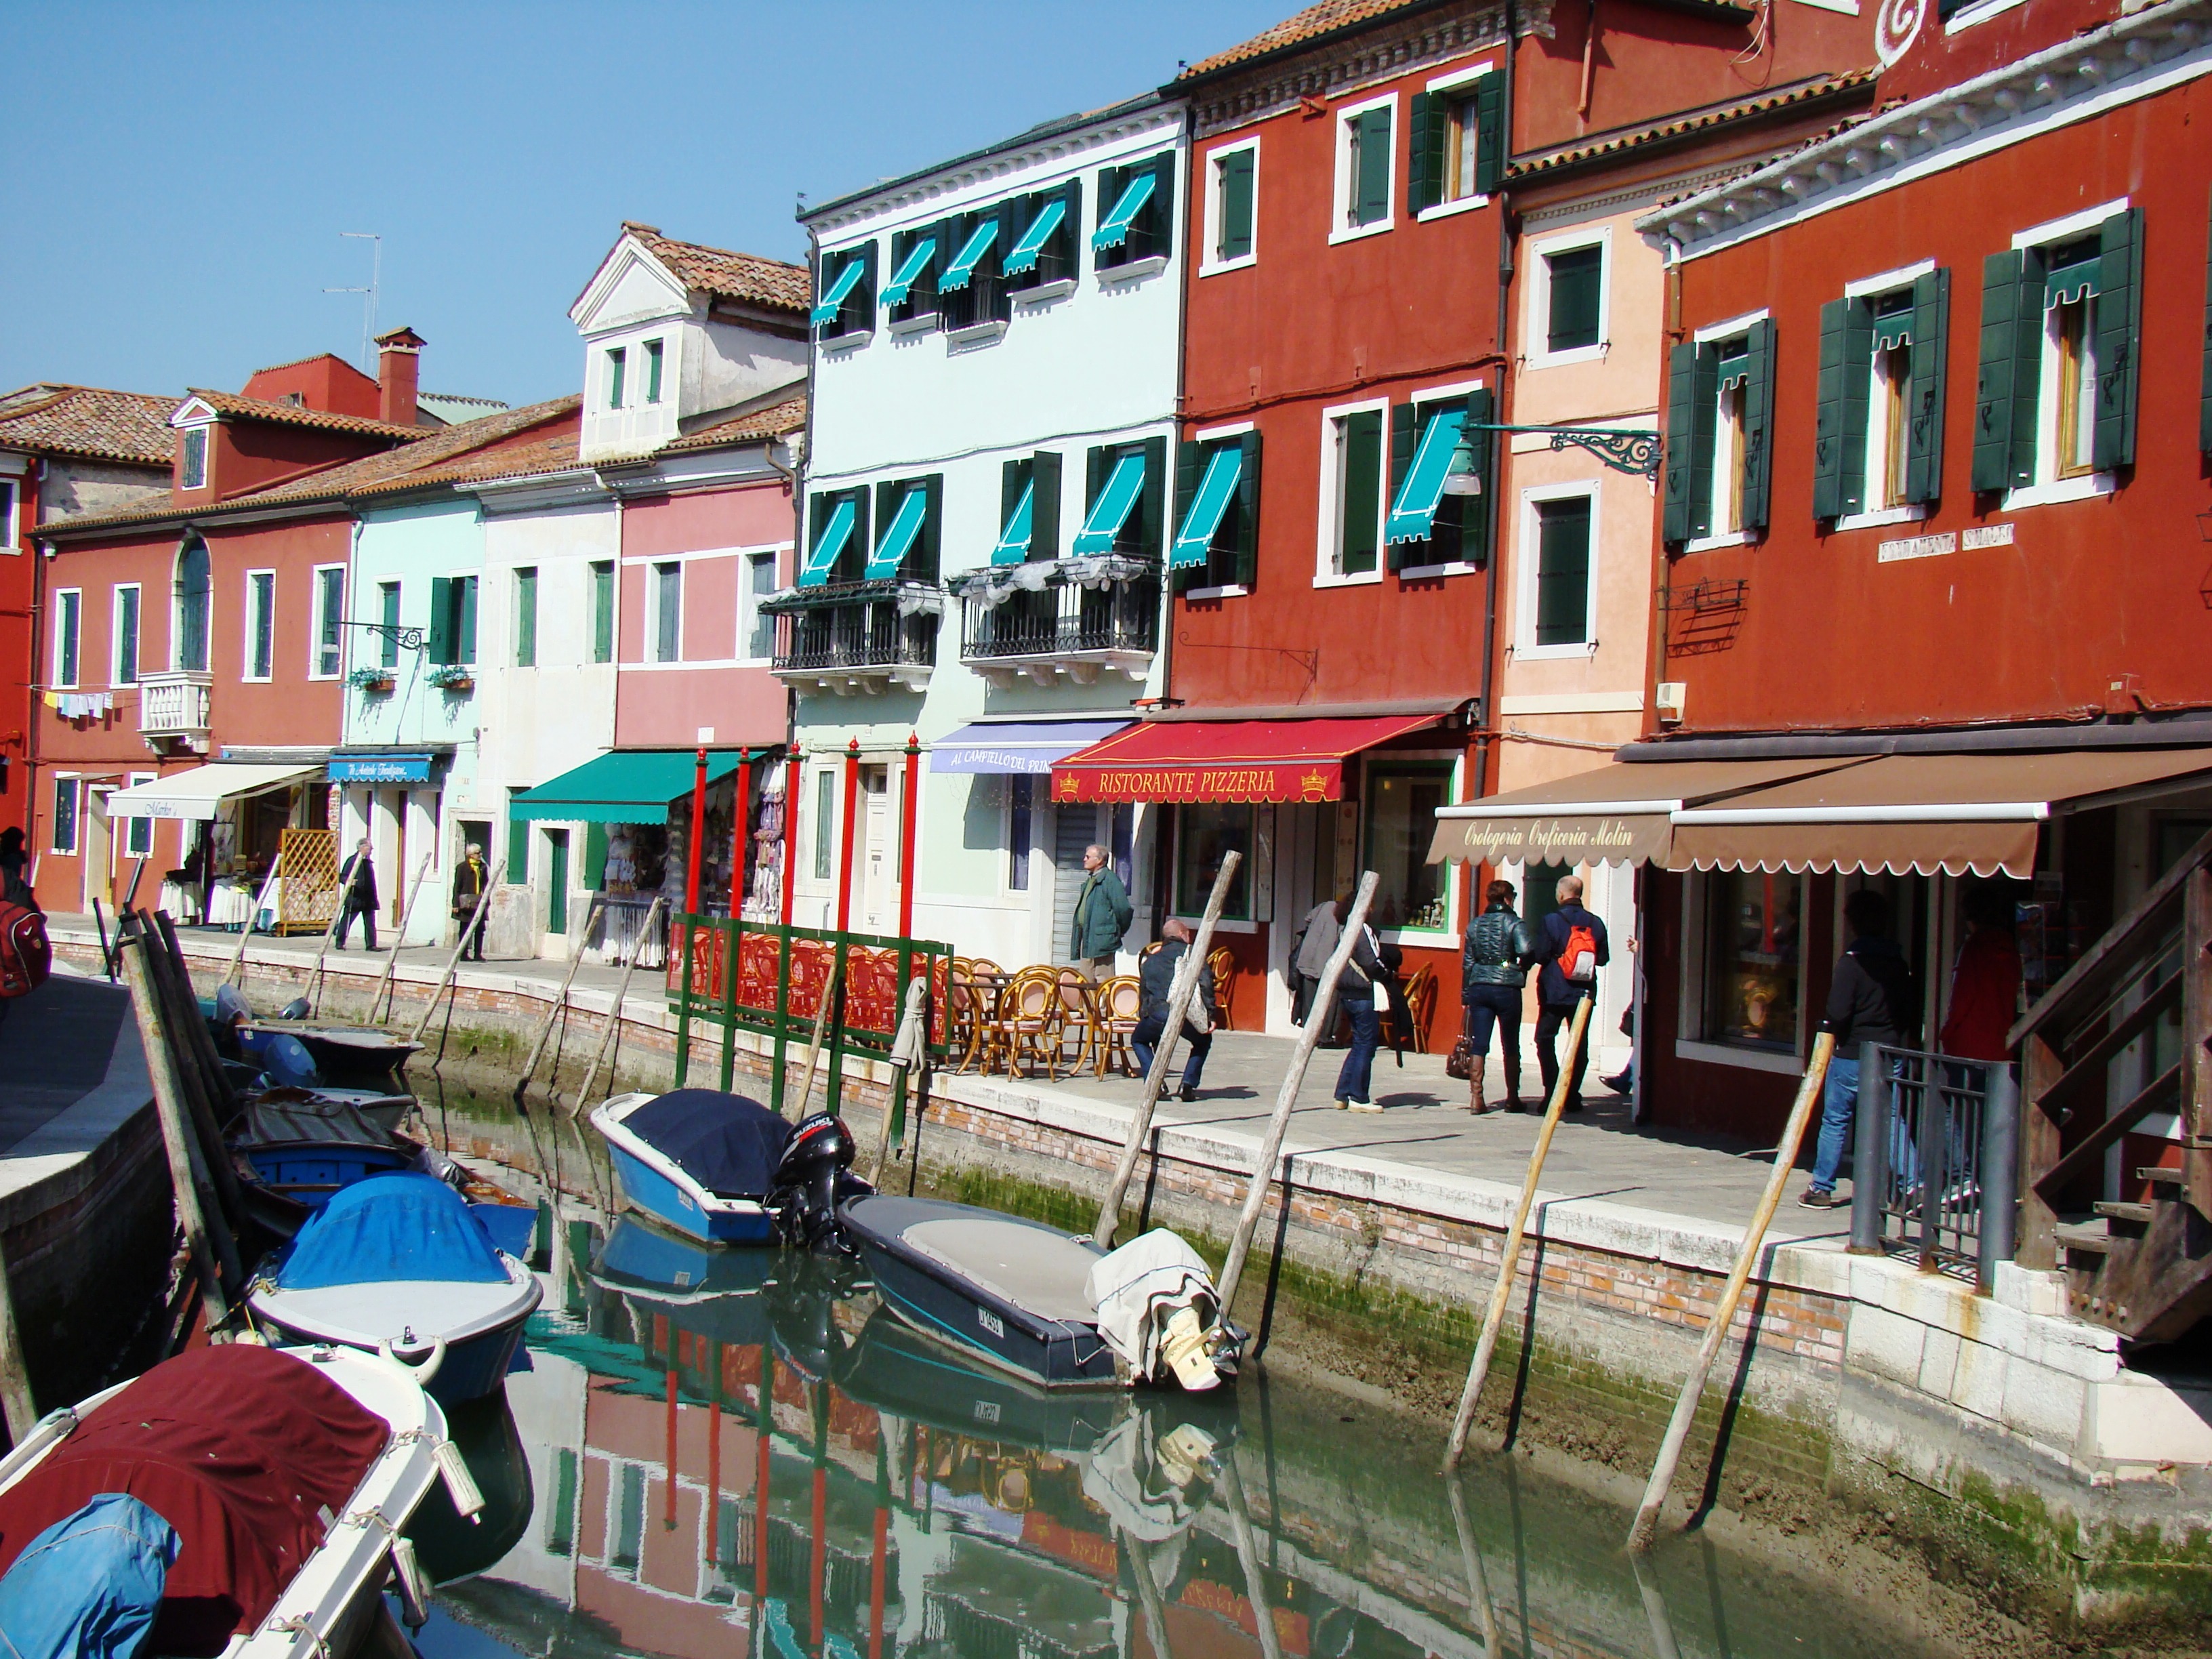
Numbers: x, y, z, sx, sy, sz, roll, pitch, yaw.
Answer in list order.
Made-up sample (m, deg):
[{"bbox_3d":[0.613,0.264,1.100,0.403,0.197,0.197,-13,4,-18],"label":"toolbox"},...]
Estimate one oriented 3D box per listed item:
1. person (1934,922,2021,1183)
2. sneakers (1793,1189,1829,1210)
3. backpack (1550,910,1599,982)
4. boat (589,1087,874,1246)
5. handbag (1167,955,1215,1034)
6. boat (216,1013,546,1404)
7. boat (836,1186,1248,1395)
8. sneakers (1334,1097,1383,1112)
[{"bbox_3d":[6.111,1.520,16.591,0.520,1.718,2.107,4,-1,21],"label":"person"},{"bbox_3d":[5.469,2.826,18.340,0.198,0.166,0.109,-4,0,33],"label":"sneakers"},{"bbox_3d":[4.364,1.091,21.907,0.314,0.562,0.492,5,-19,-8],"label":"backpack"},{"bbox_3d":[-3.998,3.541,25.074,3.424,1.606,1.212,5,0,44],"label":"boat"},{"bbox_3d":[0.780,1.558,22.679,0.307,0.694,0.468,-13,32,-25],"label":"handbag"},{"bbox_3d":[-8.406,3.590,27.347,3.202,1.610,19.368,6,-1,-21],"label":"boat"},{"bbox_3d":[-0.682,3.878,20.523,1.328,1.352,3.388,-2,8,-36],"label":"boat"},{"bbox_3d":[2.406,2.597,22.902,0.372,0.200,0.150,-2,1,23],"label":"sneakers"}]
